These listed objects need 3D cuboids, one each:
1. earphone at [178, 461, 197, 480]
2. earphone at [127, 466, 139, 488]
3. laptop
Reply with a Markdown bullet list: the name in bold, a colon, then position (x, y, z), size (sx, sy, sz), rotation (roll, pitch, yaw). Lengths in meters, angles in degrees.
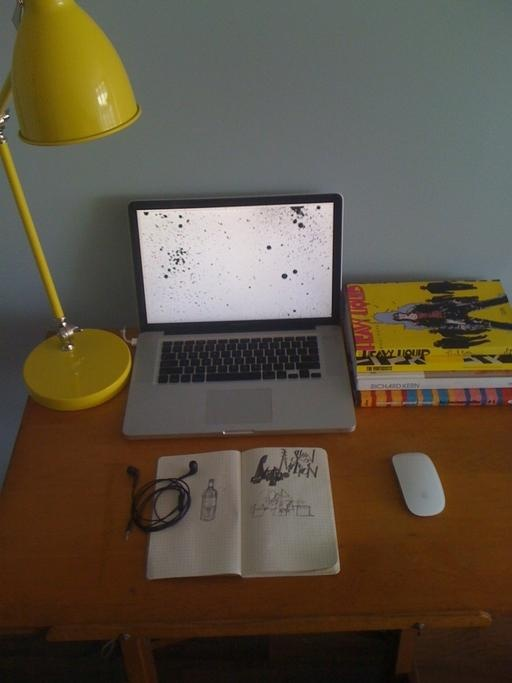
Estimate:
- **earphone**: position (-0.102, 0.193, 0.855), size (0.018, 0.014, 0.028), rotation (15, 59, 11)
- **earphone**: position (-0.184, 0.202, 0.854), size (0.015, 0.007, 0.028), rotation (-5, 70, 7)
- **laptop**: position (-0.023, 0.024, 1.040), size (0.456, 0.292, 0.371), rotation (-2, 60, 0)
